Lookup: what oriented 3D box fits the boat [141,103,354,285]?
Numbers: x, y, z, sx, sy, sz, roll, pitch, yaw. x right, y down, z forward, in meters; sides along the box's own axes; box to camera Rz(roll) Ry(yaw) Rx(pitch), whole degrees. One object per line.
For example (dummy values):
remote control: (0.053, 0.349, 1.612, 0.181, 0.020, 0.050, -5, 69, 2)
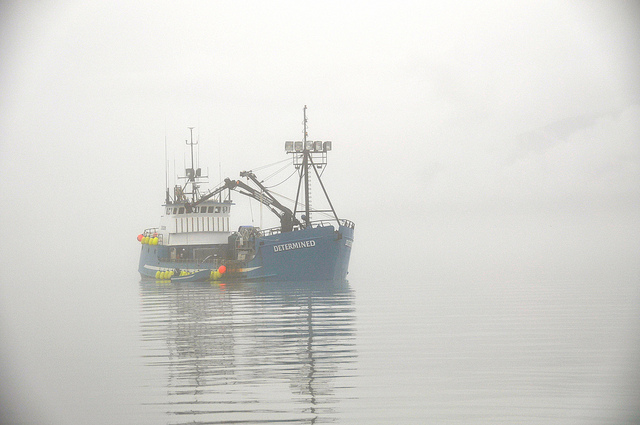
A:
boat: (-3.206, 0.812, 61.225, 5.903, 11.590, 18.748, 2, -2, -44)
